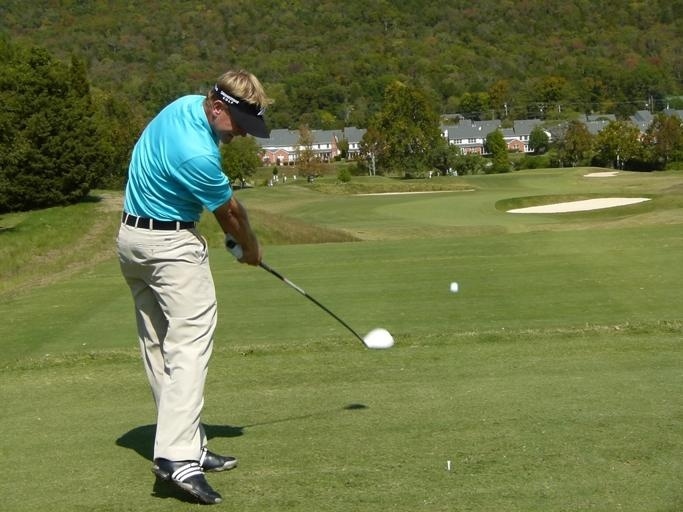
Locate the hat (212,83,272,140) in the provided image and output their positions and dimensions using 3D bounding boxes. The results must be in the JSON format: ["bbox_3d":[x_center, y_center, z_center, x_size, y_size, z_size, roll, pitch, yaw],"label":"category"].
[{"bbox_3d":[-0.901,-1.389,8.889,0.171,0.573,0.397,-52,-11,26],"label":"hat"}]

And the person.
[{"bbox_3d":[-1.495,0.138,8.966,0.980,3.813,1.139,8,14,40],"label":"person"}]

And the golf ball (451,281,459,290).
[{"bbox_3d":[1.872,0.477,15.164,0.147,0.124,0.130,2,-10,-10],"label":"golf ball"}]
